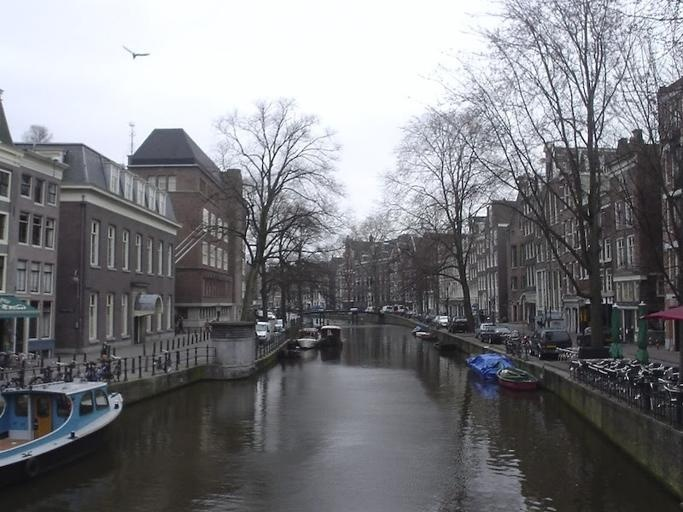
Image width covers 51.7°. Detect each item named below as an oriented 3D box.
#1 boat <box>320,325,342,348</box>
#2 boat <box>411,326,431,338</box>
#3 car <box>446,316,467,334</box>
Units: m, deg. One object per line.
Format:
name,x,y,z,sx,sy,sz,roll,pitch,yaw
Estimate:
boat,-1.016,7.273,63.154,1.623,1.777,1.750,0,-4,4
boat,8.547,8.222,75.473,0.894,1.336,3.143,1,4,-4
car,11.370,6.831,68.403,1.369,1.359,2.349,1,1,-4
